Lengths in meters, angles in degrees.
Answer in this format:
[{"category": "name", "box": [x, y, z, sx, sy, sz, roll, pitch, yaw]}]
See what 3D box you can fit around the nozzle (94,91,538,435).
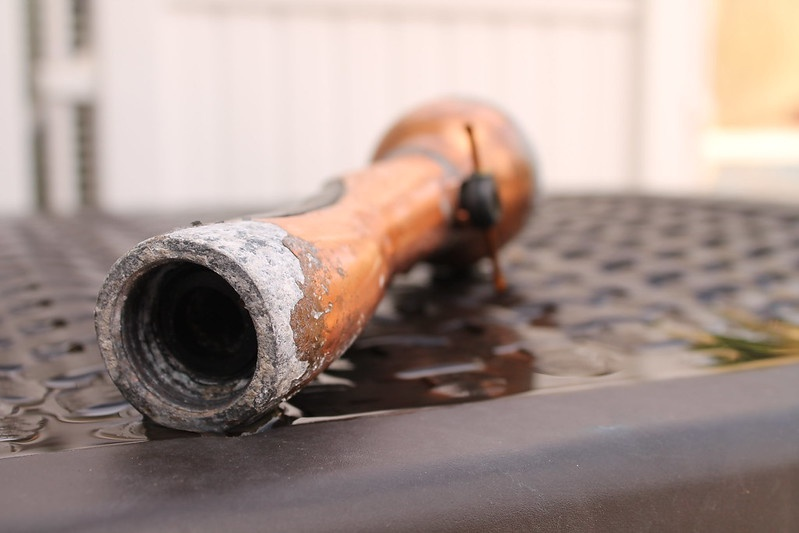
[{"category": "nozzle", "box": [-0.014, -0.018, 0.647, 0.139, 0.137, 0.420, 4, 13, 25]}]
